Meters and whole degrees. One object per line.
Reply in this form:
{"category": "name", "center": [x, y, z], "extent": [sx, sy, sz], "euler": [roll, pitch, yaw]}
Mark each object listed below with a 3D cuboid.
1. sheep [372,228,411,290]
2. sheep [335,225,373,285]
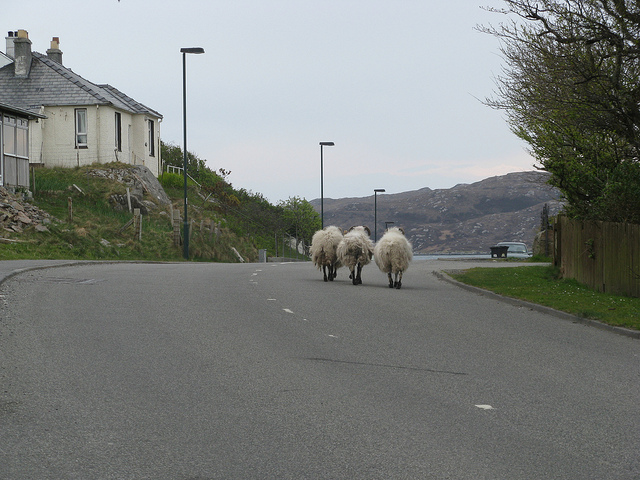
{"category": "sheep", "center": [2.366, 0.546, 20.847], "extent": [0.917, 1.920, 2.142], "euler": [-3, 3, 8]}
{"category": "sheep", "center": [1.252, 0.455, 21.935], "extent": [1.121, 2.084, 2.251], "euler": [0, -1, 7]}
